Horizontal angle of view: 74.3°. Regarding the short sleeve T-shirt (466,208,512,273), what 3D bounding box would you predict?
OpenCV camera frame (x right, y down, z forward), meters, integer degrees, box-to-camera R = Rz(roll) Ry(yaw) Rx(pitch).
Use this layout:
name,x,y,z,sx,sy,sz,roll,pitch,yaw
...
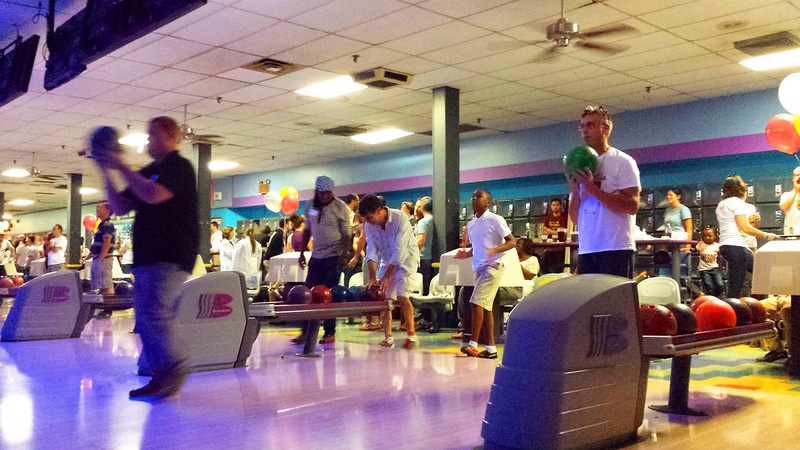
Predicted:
name,x,y,z,sx,sy,sz,roll,pitch,yaw
short sleeve T-shirt,1.207,0.217,7.267,0.606,0.808,0.270,-1,-3,18

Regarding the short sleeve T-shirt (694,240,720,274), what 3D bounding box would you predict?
name,x,y,z,sx,sy,sz,roll,pitch,yaw
short sleeve T-shirt,5.996,0.595,10.294,0.329,0.564,0.349,-2,-4,23

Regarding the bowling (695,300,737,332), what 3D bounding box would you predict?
name,x,y,z,sx,sy,sz,roll,pitch,yaw
bowling,3.062,0.885,5.255,0.403,0.379,0.388,0,-9,31

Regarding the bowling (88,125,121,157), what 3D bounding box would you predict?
name,x,y,z,sx,sy,sz,roll,pitch,yaw
bowling,-2.783,-0.782,5.039,0.342,0.271,0.162,-6,-3,-9

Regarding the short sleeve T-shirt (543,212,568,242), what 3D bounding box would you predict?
name,x,y,z,sx,sy,sz,roll,pitch,yaw
short sleeve T-shirt,3.536,0.061,12.021,0.453,0.683,0.585,23,-23,-39

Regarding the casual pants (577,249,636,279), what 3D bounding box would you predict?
name,x,y,z,sx,sy,sz,roll,pitch,yaw
casual pants,1.866,0.350,5.050,0.401,0.248,0.216,3,16,24

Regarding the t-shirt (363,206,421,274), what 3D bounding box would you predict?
name,x,y,z,sx,sy,sz,roll,pitch,yaw
t-shirt,-0.060,0.204,7.948,0.891,0.870,0.688,5,11,42

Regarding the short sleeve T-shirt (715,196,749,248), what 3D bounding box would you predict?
name,x,y,z,sx,sy,sz,roll,pitch,yaw
short sleeve T-shirt,4.999,-0.038,7.833,0.389,0.738,0.478,0,-3,0

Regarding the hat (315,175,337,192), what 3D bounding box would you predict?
name,x,y,z,sx,sy,sz,roll,pitch,yaw
hat,-1.145,-0.623,7.974,0.251,0.259,0.297,1,-3,-14

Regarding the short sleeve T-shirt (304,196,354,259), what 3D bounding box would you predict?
name,x,y,z,sx,sy,sz,roll,pitch,yaw
short sleeve T-shirt,-1.127,0.022,8.072,0.893,0.869,0.509,4,12,26

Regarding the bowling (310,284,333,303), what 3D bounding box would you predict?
name,x,y,z,sx,sy,sz,roll,pitch,yaw
bowling,-1.017,0.900,6.970,0.249,0.208,0.289,-1,12,42

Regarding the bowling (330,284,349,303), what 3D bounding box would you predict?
name,x,y,z,sx,sy,sz,roll,pitch,yaw
bowling,-0.853,0.968,7.375,0.240,0.207,0.203,-2,-7,-7

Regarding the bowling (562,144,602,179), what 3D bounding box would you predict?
name,x,y,z,sx,sy,sz,roll,pitch,yaw
bowling,1.728,-0.572,5.141,0.331,0.331,0.334,24,-16,-38

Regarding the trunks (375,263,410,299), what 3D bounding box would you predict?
name,x,y,z,sx,sy,sz,roll,pitch,yaw
trunks,-0.093,0.818,7.635,0.519,0.540,0.215,-12,-36,15

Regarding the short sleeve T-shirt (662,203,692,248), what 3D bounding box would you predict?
name,x,y,z,sx,sy,sz,roll,pitch,yaw
short sleeve T-shirt,5.703,-0.111,10.985,0.427,0.580,0.678,-12,9,-26

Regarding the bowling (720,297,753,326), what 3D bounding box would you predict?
name,x,y,z,sx,sy,sz,roll,pitch,yaw
bowling,3.422,0.850,5.328,0.323,0.303,0.306,1,-2,38

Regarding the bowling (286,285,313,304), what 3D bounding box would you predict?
name,x,y,z,sx,sy,sz,roll,pitch,yaw
bowling,-1.304,0.912,6.817,0.287,0.269,0.240,-7,39,-17

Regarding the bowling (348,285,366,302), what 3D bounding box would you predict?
name,x,y,z,sx,sy,sz,roll,pitch,yaw
bowling,-0.622,0.982,7.588,0.230,0.182,0.205,-1,-7,-3
